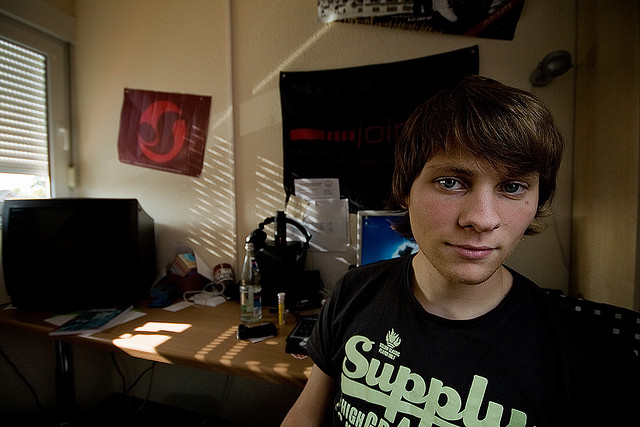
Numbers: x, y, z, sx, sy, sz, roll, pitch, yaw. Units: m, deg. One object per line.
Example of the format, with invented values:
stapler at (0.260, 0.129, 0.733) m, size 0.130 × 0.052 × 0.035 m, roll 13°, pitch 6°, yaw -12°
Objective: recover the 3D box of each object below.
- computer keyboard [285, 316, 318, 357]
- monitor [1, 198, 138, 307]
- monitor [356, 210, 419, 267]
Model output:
computer keyboard at (-0.055, 0.604, 2.470) m, size 0.151 × 0.049 × 0.209 m, roll -6°, pitch 19°, yaw 34°
monitor at (-1.440, 0.217, 2.737) m, size 0.783 × 0.580 × 0.084 m, roll -1°, pitch 3°, yaw 6°
monitor at (0.356, 0.132, 2.578) m, size 0.310 × 0.287 × 0.077 m, roll 1°, pitch 5°, yaw 6°
